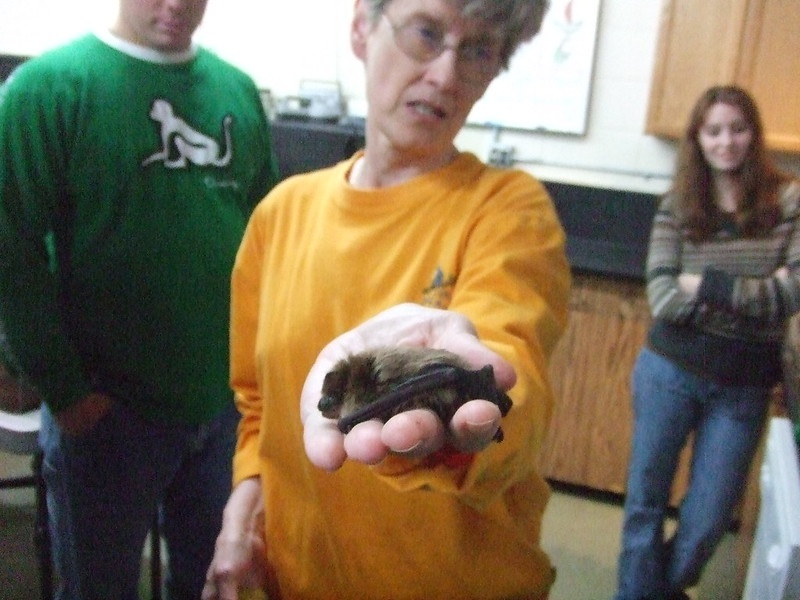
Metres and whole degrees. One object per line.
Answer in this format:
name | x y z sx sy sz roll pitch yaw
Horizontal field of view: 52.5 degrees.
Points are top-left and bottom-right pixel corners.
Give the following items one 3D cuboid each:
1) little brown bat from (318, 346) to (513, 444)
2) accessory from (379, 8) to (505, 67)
little brown bat | 0.004 0.126 1.233 0.151 0.083 0.215 -18 -18 10
accessory | 0.077 -0.436 1.359 0.202 0.083 0.052 7 16 7
